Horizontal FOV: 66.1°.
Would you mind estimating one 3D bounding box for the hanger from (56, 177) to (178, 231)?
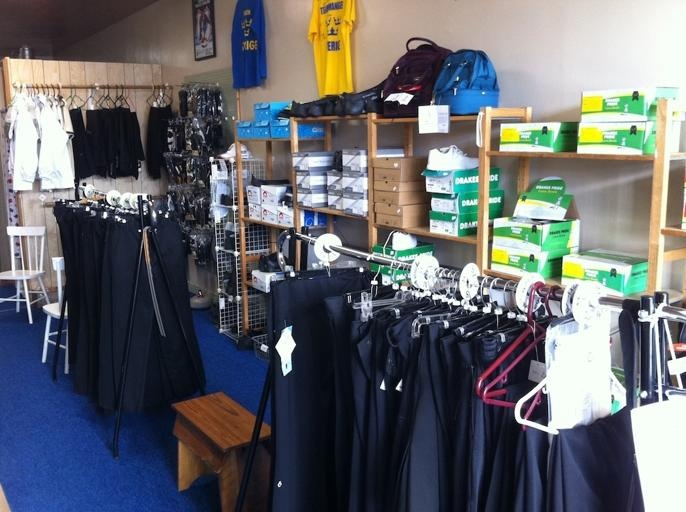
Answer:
[{"bbox_3d":[-1.706,-0.412,3.893,1.306,0.194,0.437,12,20,41],"label":"hanger"}]

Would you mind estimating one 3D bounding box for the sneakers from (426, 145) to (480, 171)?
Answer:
[{"bbox_3d":[0.666,-0.620,3.337,0.349,0.168,0.145,-6,12,-21],"label":"sneakers"}]

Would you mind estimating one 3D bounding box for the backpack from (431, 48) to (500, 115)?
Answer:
[{"bbox_3d":[0.753,-1.069,3.461,0.403,0.439,0.387,-4,9,-29],"label":"backpack"}]

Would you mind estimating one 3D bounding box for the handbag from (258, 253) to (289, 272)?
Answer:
[{"bbox_3d":[-0.571,0.058,4.195,0.153,0.166,0.141,-6,8,-26],"label":"handbag"}]

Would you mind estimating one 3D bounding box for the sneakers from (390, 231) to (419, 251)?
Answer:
[{"bbox_3d":[0.426,-0.109,3.718,0.076,0.115,0.260,0,-1,31],"label":"sneakers"}]

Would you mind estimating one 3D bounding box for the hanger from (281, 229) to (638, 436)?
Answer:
[{"bbox_3d":[0.283,0.125,2.059,0.342,0.457,1.519,-1,11,-30],"label":"hanger"}]
